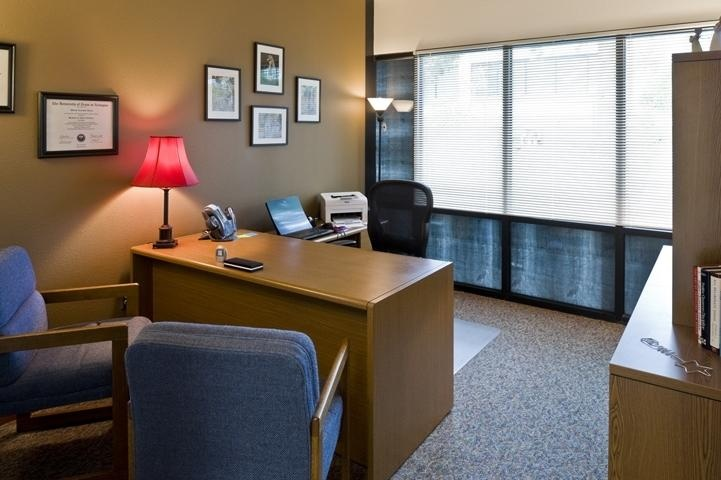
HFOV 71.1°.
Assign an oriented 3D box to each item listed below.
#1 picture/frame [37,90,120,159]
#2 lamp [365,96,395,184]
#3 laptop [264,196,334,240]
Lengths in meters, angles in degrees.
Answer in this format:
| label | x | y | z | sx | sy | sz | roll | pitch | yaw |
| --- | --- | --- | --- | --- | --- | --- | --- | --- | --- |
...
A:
| label | x | y | z | sx | sy | sz | roll | pitch | yaw |
| --- | --- | --- | --- | --- | --- | --- | --- | --- | --- |
| picture/frame | -2.025 | -0.831 | 3.578 | 0.041 | 0.440 | 0.509 | 10 | 11 | 43 |
| lamp | 0.217 | -1.104 | 5.564 | 0.283 | 0.924 | 0.457 | 0 | 13 | 0 |
| laptop | -0.607 | -0.190 | 4.620 | 0.447 | 0.294 | 0.448 | 7 | 12 | 31 |
